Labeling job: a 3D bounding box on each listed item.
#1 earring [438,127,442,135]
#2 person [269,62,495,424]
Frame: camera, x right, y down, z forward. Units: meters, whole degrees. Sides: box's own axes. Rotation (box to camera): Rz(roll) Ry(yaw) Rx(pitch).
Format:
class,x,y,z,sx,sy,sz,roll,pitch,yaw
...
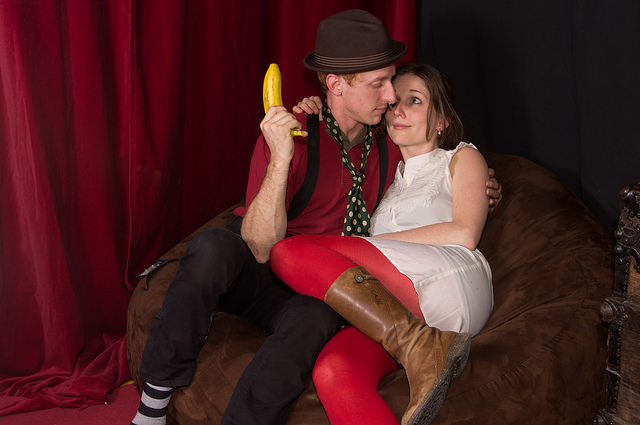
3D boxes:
class,x,y,z,sx,sy,sz,roll,pitch,yaw
earring,0.504,-0.344,2.238,0.015,0.026,0.029,0,2,5
person,0.305,0.025,2.005,0.637,1.310,0.820,2,3,44
